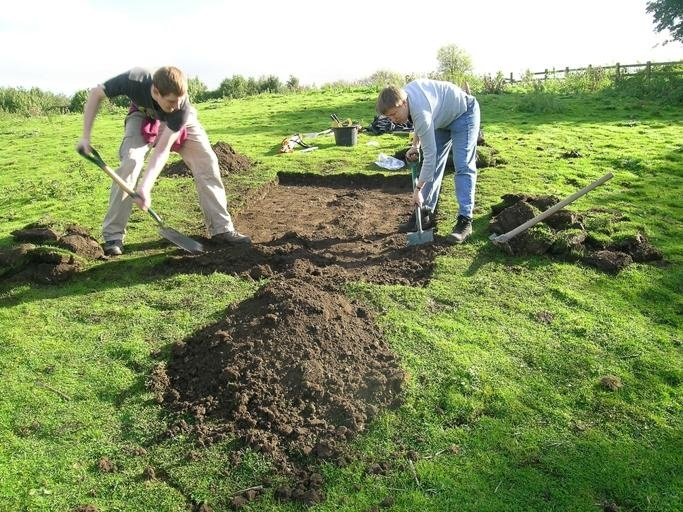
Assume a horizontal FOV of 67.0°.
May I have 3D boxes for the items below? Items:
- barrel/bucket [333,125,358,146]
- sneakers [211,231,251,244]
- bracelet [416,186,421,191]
[{"bbox_3d":[0.095,-2.507,10.843,0.469,0.311,0.421,-4,26,-6],"label":"barrel/bucket"},{"bbox_3d":[-1.330,-0.232,6.349,0.488,0.186,0.168,0,8,4],"label":"sneakers"},{"bbox_3d":[0.877,-0.776,5.946,0.034,0.044,0.046,-39,28,-20],"label":"bracelet"}]
